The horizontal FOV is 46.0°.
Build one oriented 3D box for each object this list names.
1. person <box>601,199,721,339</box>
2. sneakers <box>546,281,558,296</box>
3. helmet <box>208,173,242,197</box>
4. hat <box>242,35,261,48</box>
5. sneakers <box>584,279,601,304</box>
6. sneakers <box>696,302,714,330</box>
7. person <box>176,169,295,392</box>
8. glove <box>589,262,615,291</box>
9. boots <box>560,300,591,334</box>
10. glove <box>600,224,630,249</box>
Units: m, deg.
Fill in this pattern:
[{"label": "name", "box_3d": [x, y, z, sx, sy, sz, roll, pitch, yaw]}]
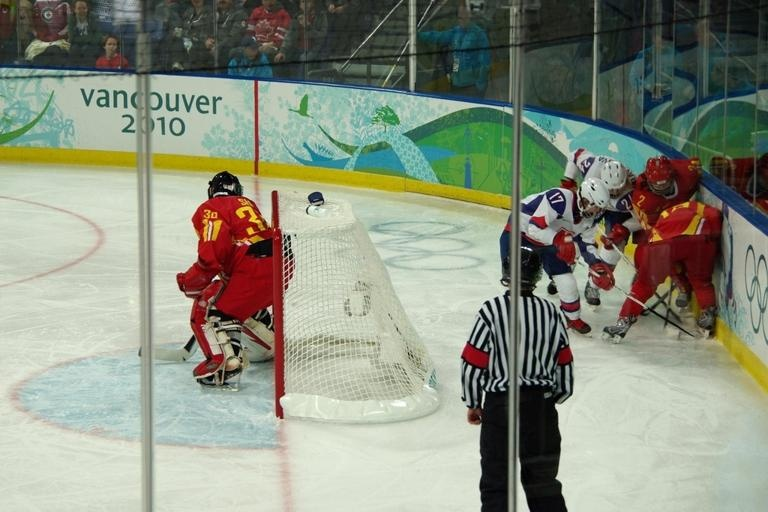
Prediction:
[{"label": "person", "box_3d": [2.328, 0.109, 7.397, 0.808, 1.107, 0.532, 4, 13, 9]}, {"label": "sneakers", "box_3d": [1.572, 0.293, 8.528, 0.112, 0.158, 0.160, 0, 34, 6]}, {"label": "helmet", "box_3d": [-1.220, -0.536, 6.826, 0.184, 0.223, 0.223, 2, 41, -6]}, {"label": "hat", "box_3d": [-1.852, -2.932, 12.390, 0.155, 0.137, 0.124, -35, -30, 27]}, {"label": "sneakers", "box_3d": [1.857, 0.319, 8.107, 0.096, 0.116, 0.254, -5, 32, -3]}, {"label": "sneakers", "box_3d": [2.637, 0.483, 7.369, 0.092, 0.107, 0.229, -32, 21, 35]}, {"label": "person", "box_3d": [-1.117, 0.158, 6.655, 0.823, 1.479, 0.647, -1, 14, -13]}, {"label": "glove", "box_3d": [1.858, 0.167, 7.693, 0.214, 0.107, 0.274, 24, 10, -4]}, {"label": "boots", "box_3d": [1.613, 0.514, 7.549, 0.131, 0.268, 0.376, -13, 19, -17]}, {"label": "glove", "box_3d": [2.104, -0.151, 8.227, 0.252, 0.107, 0.192, -31, 32, -19]}]
